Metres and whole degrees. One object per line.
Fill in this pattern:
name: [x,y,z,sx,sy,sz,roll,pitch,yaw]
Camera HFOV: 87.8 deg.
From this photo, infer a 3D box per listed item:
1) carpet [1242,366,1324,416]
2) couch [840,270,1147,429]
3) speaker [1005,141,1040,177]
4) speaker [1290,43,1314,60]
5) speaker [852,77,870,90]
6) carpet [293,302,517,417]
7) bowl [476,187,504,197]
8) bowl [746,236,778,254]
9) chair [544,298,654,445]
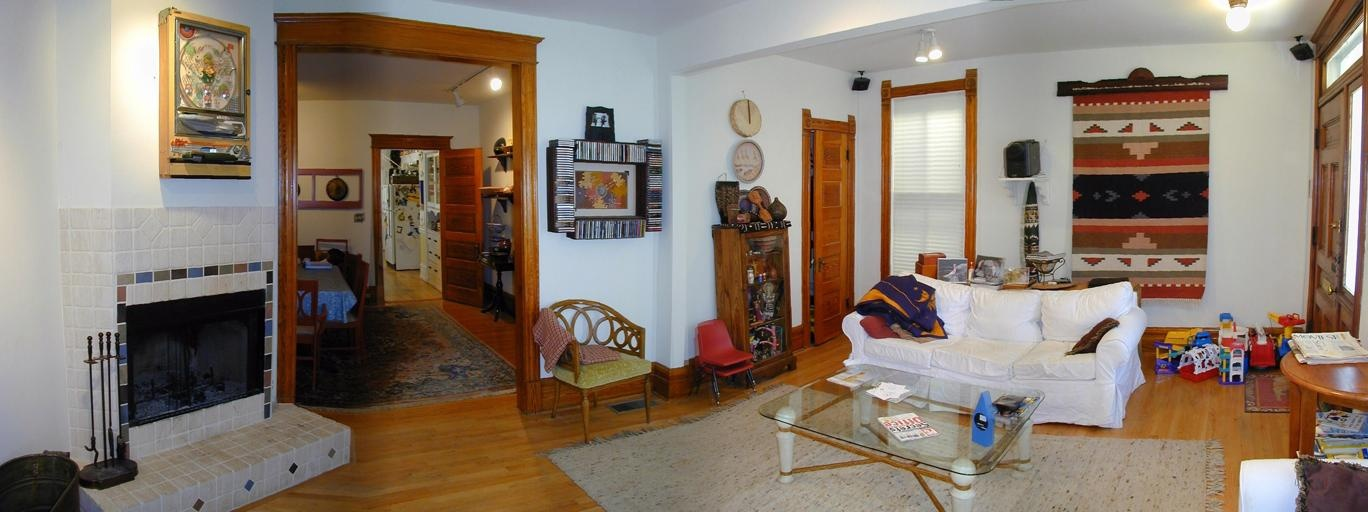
carpet: [9.989,2.351,12.102,1.519,0.010,0.600,-13,16,-36]
couch: [6.136,1.445,12.497,6.235,1.920,2.791,4,16,31]
speaker: [6.482,-1.829,13.505,0.682,0.704,0.270,-1,7,8]
speaker: [11.080,-3.626,12.678,0.343,0.269,0.249,1,7,23]
speaker: [3.562,-3.435,14.275,0.324,0.243,0.246,0,6,15]
carpet: [-5.003,1.940,13.867,4.420,0.970,6.596,0,1,3]
bowl: [-4.114,-1.383,15.488,0.473,0.116,0.399,-2,-4,21]
bowl: [1.419,-0.192,12.762,0.470,0.217,0.385,-1,0,4]
chair: [-1.632,1.844,12.345,2.187,2.085,1.874,-2,3,-34]
